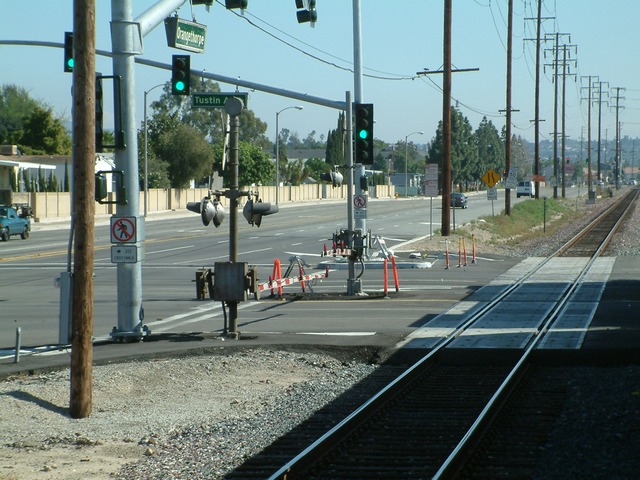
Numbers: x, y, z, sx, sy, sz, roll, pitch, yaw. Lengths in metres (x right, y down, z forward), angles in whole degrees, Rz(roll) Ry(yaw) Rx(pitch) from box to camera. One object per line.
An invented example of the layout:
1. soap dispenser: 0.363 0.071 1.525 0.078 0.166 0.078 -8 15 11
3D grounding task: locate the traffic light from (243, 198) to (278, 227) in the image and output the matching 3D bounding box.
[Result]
1. traffic light: -1.325 -0.626 20.270 0.624 0.651 0.753 2 1 17

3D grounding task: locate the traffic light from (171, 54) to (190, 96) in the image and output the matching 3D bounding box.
1. traffic light: -3.590 -4.265 24.207 0.453 1.037 0.701 -2 5 -12

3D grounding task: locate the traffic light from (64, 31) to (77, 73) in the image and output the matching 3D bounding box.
1. traffic light: -5.660 -4.242 21.065 0.178 1.021 2.190 -2 5 -15

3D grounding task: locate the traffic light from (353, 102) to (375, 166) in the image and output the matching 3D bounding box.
1. traffic light: 1.204 -2.886 25.464 0.481 1.644 0.545 -1 5 -6

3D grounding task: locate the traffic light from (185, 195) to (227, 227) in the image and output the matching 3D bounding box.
1. traffic light: -2.444 -0.597 19.463 0.831 0.715 0.578 17 23 34
